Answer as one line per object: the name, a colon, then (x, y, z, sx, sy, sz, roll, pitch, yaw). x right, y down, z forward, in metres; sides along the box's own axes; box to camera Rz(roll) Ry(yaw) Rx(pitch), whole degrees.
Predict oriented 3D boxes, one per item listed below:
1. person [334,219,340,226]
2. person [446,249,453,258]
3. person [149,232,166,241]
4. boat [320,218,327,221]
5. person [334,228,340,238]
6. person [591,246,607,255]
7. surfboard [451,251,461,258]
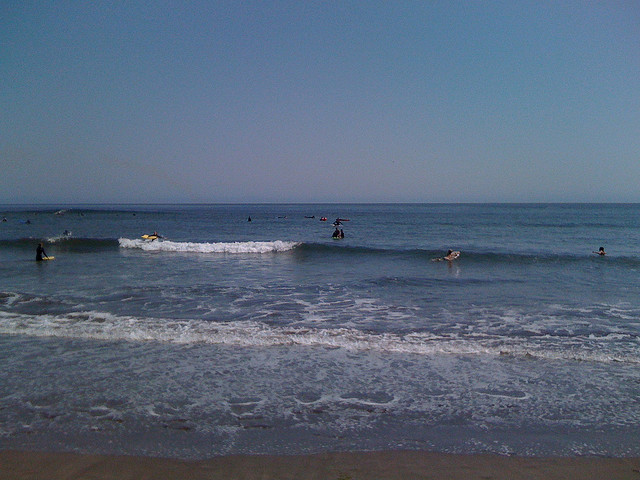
person: (1.951, -2.066, 72.225, 0.602, 0.731, 0.329, 7, -43, 10)
person: (7.675, 0.806, 37.352, 0.468, 0.260, 0.795, -4, 1, 11)
person: (-13.468, -0.293, 52.282, 1.121, 0.929, 0.274, -3, -21, -26)
boat: (0.453, -2.903, 88.211, 0.805, 0.316, 1.008, 0, 1, -5)
person: (1.477, -0.522, 52.134, 0.318, 0.627, 0.503, -2, 1, -2)
person: (18.518, 0.725, 41.803, 0.440, 0.574, 1.330, 4, 6, 16)
surfboard: (7.915, 0.809, 36.719, 0.263, 0.131, 0.859, 6, 21, 40)
